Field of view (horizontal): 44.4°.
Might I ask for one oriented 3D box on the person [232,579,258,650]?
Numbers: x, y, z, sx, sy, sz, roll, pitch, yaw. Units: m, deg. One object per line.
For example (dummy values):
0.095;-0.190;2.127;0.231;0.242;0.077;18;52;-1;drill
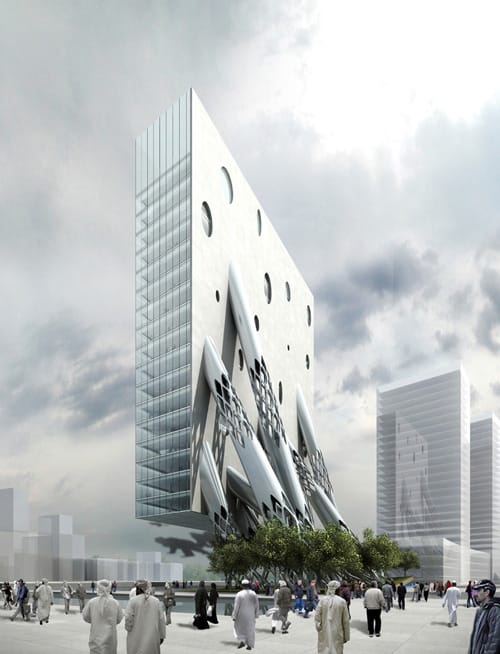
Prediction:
-0.110;5.902;12.501;0.503;1.429;1.614;-1;-15;-2;person
